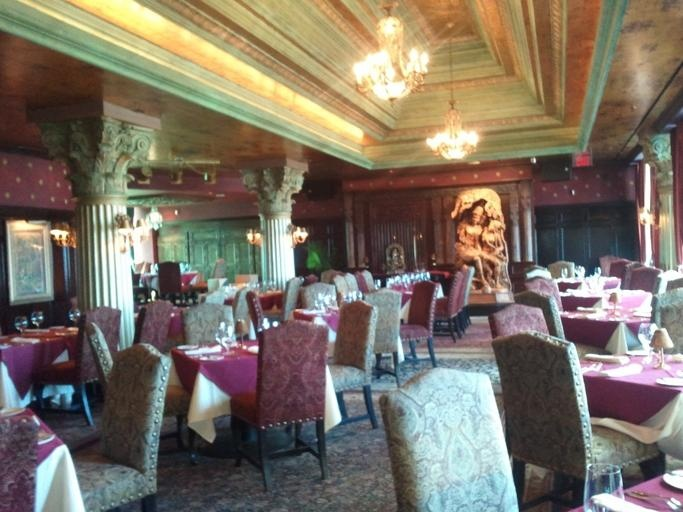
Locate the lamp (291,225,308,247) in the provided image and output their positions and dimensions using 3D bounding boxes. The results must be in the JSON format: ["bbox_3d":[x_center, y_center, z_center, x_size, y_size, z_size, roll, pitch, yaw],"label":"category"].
[{"bbox_3d":[-1.042,-0.519,13.821,0.604,0.543,0.769,3,-2,-14],"label":"lamp"}]

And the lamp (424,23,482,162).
[{"bbox_3d":[1.904,-2.891,9.539,0.911,2.424,0.955,-1,14,16],"label":"lamp"}]

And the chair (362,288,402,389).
[{"bbox_3d":[0.342,1.060,7.099,0.703,1.225,0.771,-2,-8,-11],"label":"chair"}]

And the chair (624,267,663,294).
[{"bbox_3d":[4.604,0.386,8.476,0.326,0.417,0.312,7,-6,-39],"label":"chair"}]

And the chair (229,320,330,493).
[{"bbox_3d":[-0.543,1.253,5.069,0.733,1.429,0.754,-1,2,-36],"label":"chair"}]

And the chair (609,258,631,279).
[{"bbox_3d":[5.372,0.257,10.750,0.297,0.385,0.277,16,-3,-41],"label":"chair"}]

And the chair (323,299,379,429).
[{"bbox_3d":[-0.086,1.129,5.828,0.900,1.267,0.932,0,-2,6],"label":"chair"}]

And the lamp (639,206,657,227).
[{"bbox_3d":[7.374,-0.928,13.461,0.339,0.168,0.502,11,-26,28],"label":"lamp"}]

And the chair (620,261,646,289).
[{"bbox_3d":[4.944,0.346,9.453,0.358,0.382,0.266,-2,16,-17],"label":"chair"}]

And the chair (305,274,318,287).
[{"bbox_3d":[-0.638,0.517,11.614,0.186,0.367,0.199,-6,9,-31],"label":"chair"}]

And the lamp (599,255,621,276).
[{"bbox_3d":[5.868,0.228,12.175,0.373,0.549,0.416,1,6,-4],"label":"lamp"}]

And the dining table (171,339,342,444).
[{"bbox_3d":[-1.045,1.186,5.142,1.037,0.596,1.067,-1,5,-34],"label":"dining table"}]

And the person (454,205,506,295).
[{"bbox_3d":[3.126,-0.238,12.574,1.052,2.057,0.649,1,6,16],"label":"person"}]

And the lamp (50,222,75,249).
[{"bbox_3d":[-5.571,-0.404,11.123,0.416,0.352,0.408,-8,10,-41],"label":"lamp"}]

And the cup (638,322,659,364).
[{"bbox_3d":[2.457,0.675,4.449,0.126,0.292,0.137,-7,-1,0],"label":"cup"}]

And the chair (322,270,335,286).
[{"bbox_3d":[-0.311,0.493,12.763,0.272,0.368,0.313,-3,-7,25],"label":"chair"}]

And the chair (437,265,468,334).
[{"bbox_3d":[2.116,0.865,10.564,0.655,1.098,1.205,0,2,19],"label":"chair"}]

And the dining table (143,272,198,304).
[{"bbox_3d":[-5.086,0.969,16.697,0.877,1.348,1.059,2,5,13],"label":"dining table"}]

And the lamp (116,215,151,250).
[{"bbox_3d":[-2.839,-0.315,7.567,0.310,0.548,0.626,-5,0,6],"label":"lamp"}]

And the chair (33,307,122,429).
[{"bbox_3d":[-3.083,1.237,6.524,0.770,1.259,0.841,-2,-1,24],"label":"chair"}]

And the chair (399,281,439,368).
[{"bbox_3d":[0.942,0.959,7.993,0.815,1.230,0.880,1,1,3],"label":"chair"}]

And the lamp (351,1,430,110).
[{"bbox_3d":[0.653,-2.779,7.664,0.867,1.542,2.767,-1,6,3],"label":"lamp"}]

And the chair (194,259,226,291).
[{"bbox_3d":[-4.184,0.610,17.833,0.791,1.406,0.955,1,1,-3],"label":"chair"}]
